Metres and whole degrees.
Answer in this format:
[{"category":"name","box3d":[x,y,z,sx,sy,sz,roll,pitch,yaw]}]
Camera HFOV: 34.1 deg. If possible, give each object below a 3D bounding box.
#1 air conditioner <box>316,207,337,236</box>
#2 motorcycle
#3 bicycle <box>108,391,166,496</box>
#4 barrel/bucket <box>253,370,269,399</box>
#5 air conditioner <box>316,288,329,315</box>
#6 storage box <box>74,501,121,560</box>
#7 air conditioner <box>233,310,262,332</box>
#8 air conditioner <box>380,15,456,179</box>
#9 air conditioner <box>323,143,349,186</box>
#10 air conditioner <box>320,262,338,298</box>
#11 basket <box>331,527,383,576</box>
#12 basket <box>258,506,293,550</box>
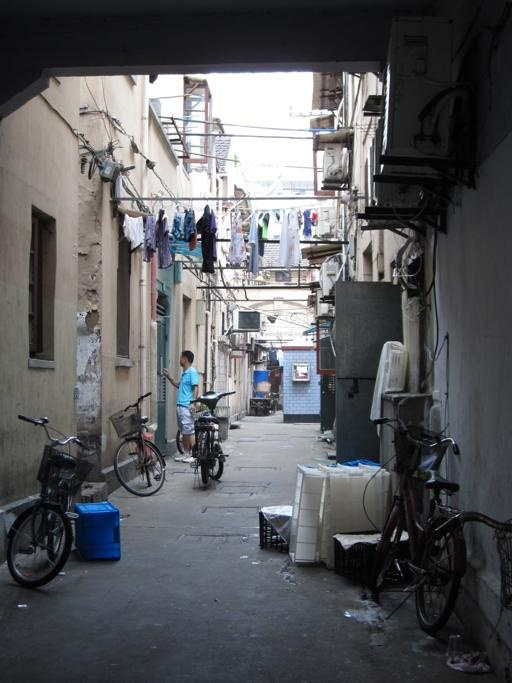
[{"category":"air conditioner","box3d":[1.573,-2.665,18.468,0.376,0.817,1.027,0,-1,3]},{"category":"motorcycle","box3d":[-0.605,1.360,11.379,0.465,0.846,1.112,0,2,4]},{"category":"bicycle","box3d":[-1.497,1.293,10.713,0.635,1.239,1.717,0,-1,-7]},{"category":"barrel/bucket","box3d":[0.331,2.483,49.933,0.936,2.630,1.210,1,-5,-1]},{"category":"air conditioner","box3d":[1.527,-0.935,19.022,0.266,0.745,0.620,1,-3,4]},{"category":"storage box","box3d":[-1.308,1.572,6.925,0.241,0.414,0.501,0,-5,-22]},{"category":"air conditioner","box3d":[-0.315,-0.743,30.801,0.878,1.099,0.638,0,-16,2]},{"category":"air conditioner","box3d":[1.027,-1.505,5.205,0.291,1.281,0.892,0,4,4]},{"category":"air conditioner","box3d":[1.572,-3.500,16.422,0.539,0.756,0.662,0,-1,23]},{"category":"air conditioner","box3d":[1.597,-1.366,17.970,0.381,0.790,0.993,0,-1,5]},{"category":"basket","box3d":[0.718,1.521,5.964,0.274,0.263,0.339,2,-2,-4]},{"category":"basket","box3d":[0.172,1.610,7.200,0.275,0.305,0.490,0,-1,1]}]
